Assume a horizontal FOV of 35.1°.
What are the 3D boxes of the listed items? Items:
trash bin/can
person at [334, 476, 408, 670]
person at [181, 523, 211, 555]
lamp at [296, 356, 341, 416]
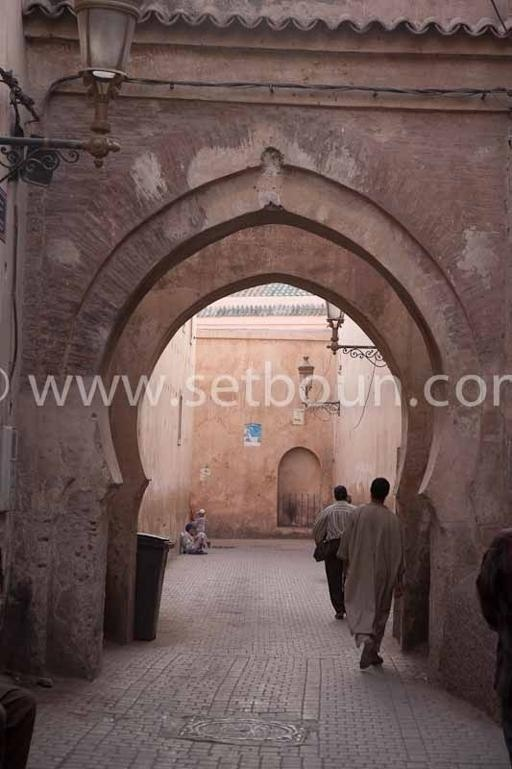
[{"bbox_3d":[-0.912,1.733,6.989,0.267,0.866,0.433,1,-4,15],"label":"trash bin/can"},{"bbox_3d":[0.833,1.395,6.062,0.483,1.386,0.757,0,-4,29],"label":"person"},{"bbox_3d":[-1.297,3.238,16.998,0.526,1.049,0.523,0,-11,-6],"label":"person"},{"bbox_3d":[1.539,0.108,19.932,0.918,1.717,0.557,-1,-41,2],"label":"lamp"}]
